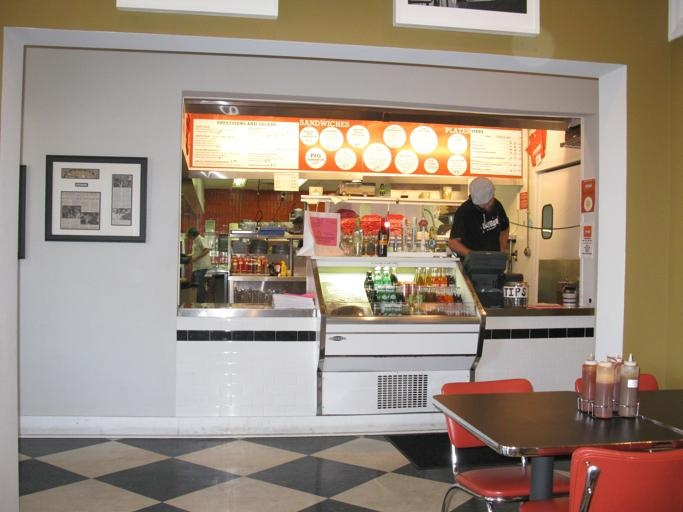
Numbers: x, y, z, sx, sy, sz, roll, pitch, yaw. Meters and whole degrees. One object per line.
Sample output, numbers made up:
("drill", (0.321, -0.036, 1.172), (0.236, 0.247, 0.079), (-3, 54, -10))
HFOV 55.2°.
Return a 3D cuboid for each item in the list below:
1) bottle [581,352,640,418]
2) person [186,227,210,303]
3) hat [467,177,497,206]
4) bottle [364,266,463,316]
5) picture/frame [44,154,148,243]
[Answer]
("bottle", (1.532, 0.744, 3.850), (0.379, 0.479, 0.311), (1, 0, 21))
("person", (-2.286, 0.178, 10.524), (0.330, 1.245, 0.941), (-2, 14, -13))
("hat", (1.374, -0.629, 6.423), (0.235, 0.282, 0.225), (3, 14, 10))
("bottle", (0.665, 0.303, 5.916), (0.899, 0.354, 0.460), (-1, 13, -7))
("picture/frame", (-2.148, -0.506, 5.616), (0.769, 0.659, 0.059), (0, 5, -5))
